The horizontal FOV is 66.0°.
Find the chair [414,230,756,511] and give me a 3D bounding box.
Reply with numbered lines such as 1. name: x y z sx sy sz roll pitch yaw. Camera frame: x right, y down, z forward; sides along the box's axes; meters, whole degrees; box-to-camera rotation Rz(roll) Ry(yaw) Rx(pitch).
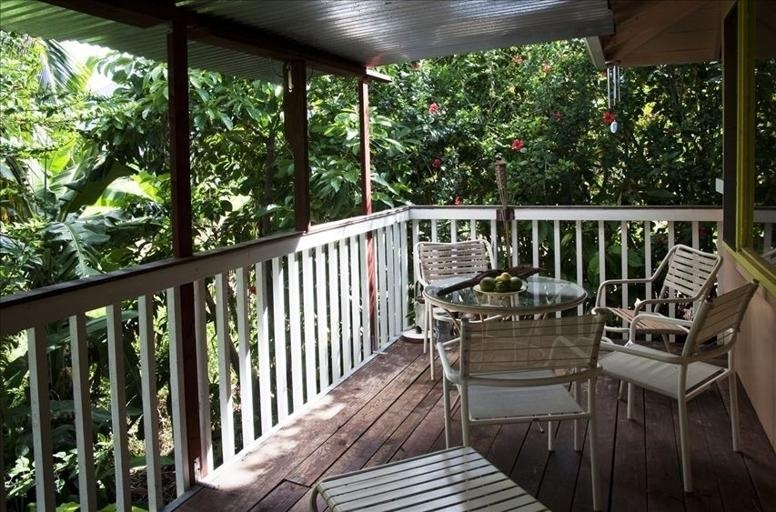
1. chair: 1.564 0.644 4.307 2.371 1.557 1.363 -4 7 -4
